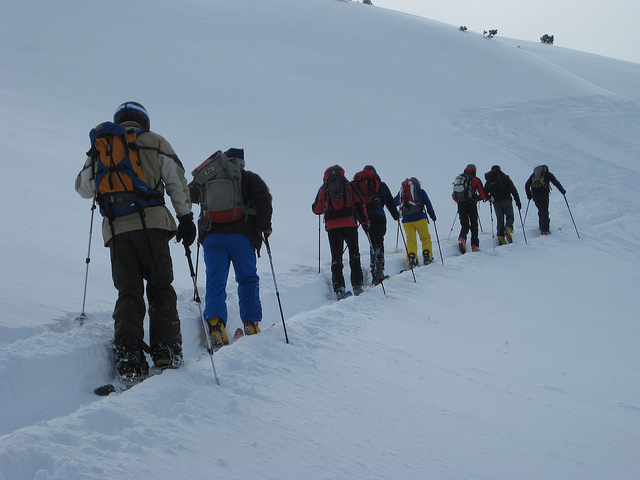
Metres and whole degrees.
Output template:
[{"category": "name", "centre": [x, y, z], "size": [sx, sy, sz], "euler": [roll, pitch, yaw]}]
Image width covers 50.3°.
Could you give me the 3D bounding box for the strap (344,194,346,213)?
[{"category": "strap", "centre": [0.558, -0.792, 15.408], "size": [0.031, 0.381, 0.090], "euler": [-5, 0, -15]}]

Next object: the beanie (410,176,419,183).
[{"category": "beanie", "centre": [2.440, -1.554, 17.635], "size": [0.175, 0.159, 0.204], "euler": [-2, 2, 15]}]

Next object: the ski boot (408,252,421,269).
[{"category": "ski boot", "centre": [2.394, 0.517, 17.493], "size": [0.156, 0.499, 0.216], "euler": [-7, 0, 13]}]

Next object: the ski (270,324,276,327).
[{"category": "ski", "centre": [-0.936, 1.681, 13.451], "size": [0.024, 0.101, 0.104], "euler": [34, -35, 6]}]

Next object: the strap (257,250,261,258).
[{"category": "strap", "centre": [-1.187, 0.252, 13.098], "size": [0.043, 0.136, 0.165], "euler": [-5, 0, -6]}]

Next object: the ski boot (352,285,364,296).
[{"category": "ski boot", "centre": [0.862, 1.147, 15.584], "size": [0.154, 0.231, 0.215], "euler": [-2, -8, 2]}]

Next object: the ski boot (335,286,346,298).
[{"category": "ski boot", "centre": [0.473, 1.182, 15.478], "size": [0.201, 0.241, 0.235], "euler": [-5, -3, 12]}]

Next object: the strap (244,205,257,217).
[{"category": "strap", "centre": [-1.291, -0.531, 12.912], "size": [0.120, 0.067, 0.168], "euler": [33, -6, 25]}]

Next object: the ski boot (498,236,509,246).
[{"category": "ski boot", "centre": [5.438, 0.014, 20.307], "size": [0.235, 0.366, 0.119], "euler": [1, -8, -2]}]

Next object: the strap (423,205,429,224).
[{"category": "strap", "centre": [2.698, -0.658, 17.435], "size": [0.052, 0.474, 0.052], "euler": [-18, 8, -6]}]

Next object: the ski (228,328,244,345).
[{"category": "ski", "centre": [-1.598, 1.847, 12.994], "size": [0.104, 0.350, 0.143], "euler": [21, -16, 41]}]

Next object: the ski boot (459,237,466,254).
[{"category": "ski boot", "centre": [4.076, 0.161, 19.428], "size": [0.151, 0.472, 0.192], "euler": [-14, -10, 42]}]

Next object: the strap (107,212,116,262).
[{"category": "strap", "centre": [-3.615, -0.040, 11.701], "size": [0.098, 0.983, 0.108], "euler": [-13, -9, 30]}]

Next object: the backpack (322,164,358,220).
[{"category": "backpack", "centre": [0.424, -1.077, 15.503], "size": [0.772, 1.232, 0.359], "euler": [-5, 0, 2]}]

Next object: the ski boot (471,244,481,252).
[{"category": "ski boot", "centre": [4.419, 0.227, 19.304], "size": [0.238, 0.192, 0.606], "euler": [-5, 0, 12]}]

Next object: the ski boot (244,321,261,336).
[{"category": "ski boot", "centre": [-1.299, 1.651, 12.951], "size": [0.311, 0.244, 0.288], "euler": [-5, 0, -6]}]

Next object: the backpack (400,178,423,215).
[{"category": "backpack", "centre": [2.258, -1.083, 17.555], "size": [0.593, 0.837, 0.470], "euler": [-9, -18, 28]}]

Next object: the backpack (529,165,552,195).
[{"category": "backpack", "centre": [6.808, -1.874, 21.244], "size": [0.623, 0.887, 0.367], "euler": [-5, 0, 17]}]

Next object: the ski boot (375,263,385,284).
[{"category": "ski boot", "centre": [1.404, 0.805, 16.298], "size": [0.181, 0.427, 0.249], "euler": [-3, -21, 2]}]

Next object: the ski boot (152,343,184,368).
[{"category": "ski boot", "centre": [-2.602, 1.987, 11.722], "size": [0.342, 0.361, 0.456], "euler": [-19, -37, 31]}]

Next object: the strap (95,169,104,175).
[{"category": "strap", "centre": [-3.771, -1.159, 11.673], "size": [0.078, 0.019, 0.057], "euler": [-31, -30, 5]}]
